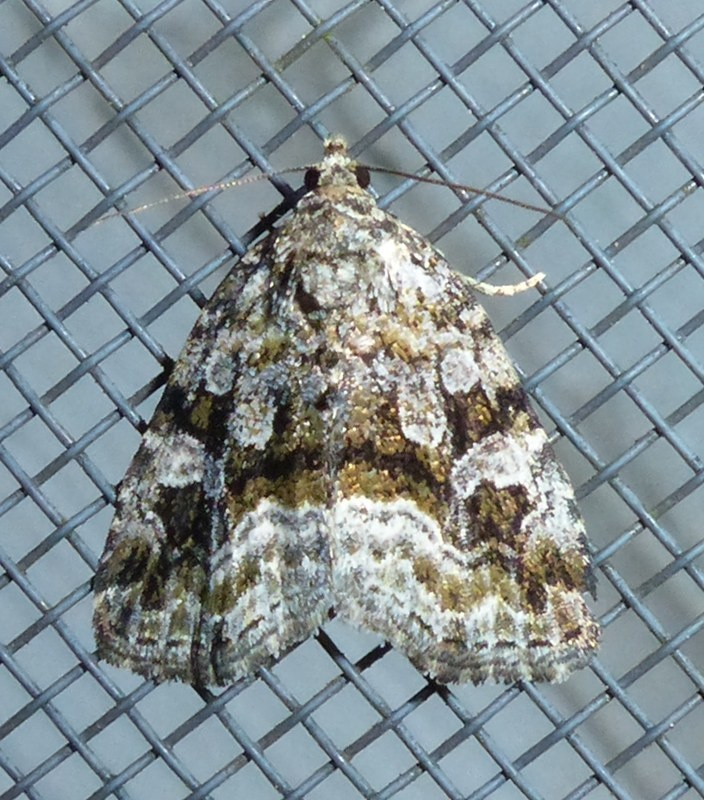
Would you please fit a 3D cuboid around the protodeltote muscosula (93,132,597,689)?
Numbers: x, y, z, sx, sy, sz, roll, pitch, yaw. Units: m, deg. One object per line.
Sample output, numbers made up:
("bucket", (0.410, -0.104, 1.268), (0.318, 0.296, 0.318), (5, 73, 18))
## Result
("protodeltote muscosula", (-0.017, 0.055, 2.571), (0.970, 0.284, 0.973), (-2, 85, -2))
